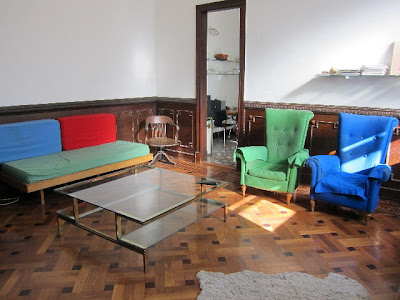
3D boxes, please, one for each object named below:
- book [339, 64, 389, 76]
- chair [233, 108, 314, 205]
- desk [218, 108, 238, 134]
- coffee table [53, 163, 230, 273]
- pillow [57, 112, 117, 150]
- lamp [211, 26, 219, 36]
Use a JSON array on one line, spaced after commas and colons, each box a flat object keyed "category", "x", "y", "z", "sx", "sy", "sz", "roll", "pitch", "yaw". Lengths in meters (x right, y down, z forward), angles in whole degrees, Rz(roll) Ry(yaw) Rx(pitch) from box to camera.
[{"category": "book", "x": 2.167, "y": -1.041, "z": 3.731, "sx": 0.612, "sy": 0.137, "sz": 0.217, "roll": 3, "pitch": 15, "yaw": 22}, {"category": "chair", "x": 1.044, "y": 0.046, "z": 4.041, "sx": 1.022, "sy": 1.229, "sz": 0.773, "roll": 3, "pitch": 16, "yaw": 20}, {"category": "desk", "x": 0.764, "y": -0.734, "z": 7.360, "sx": 0.393, "sy": 0.408, "sz": 0.419, "roll": -19, "pitch": 1, "yaw": -37}, {"category": "coffee table", "x": -0.614, "y": 0.639, "z": 3.276, "sx": 1.396, "sy": 0.598, "sz": 1.409, "roll": 8, "pitch": 16, "yaw": 36}, {"category": "pillow", "x": -1.843, "y": -0.297, "z": 4.470, "sx": 0.213, "sy": 0.336, "sz": 0.706, "roll": 10, "pitch": 15, "yaw": 39}, {"category": "lamp", "x": 0.364, "y": -3.087, "z": 7.303, "sx": 0.255, "sy": 0.245, "sz": 0.403, "roll": 0, "pitch": 14, "yaw": 11}]
